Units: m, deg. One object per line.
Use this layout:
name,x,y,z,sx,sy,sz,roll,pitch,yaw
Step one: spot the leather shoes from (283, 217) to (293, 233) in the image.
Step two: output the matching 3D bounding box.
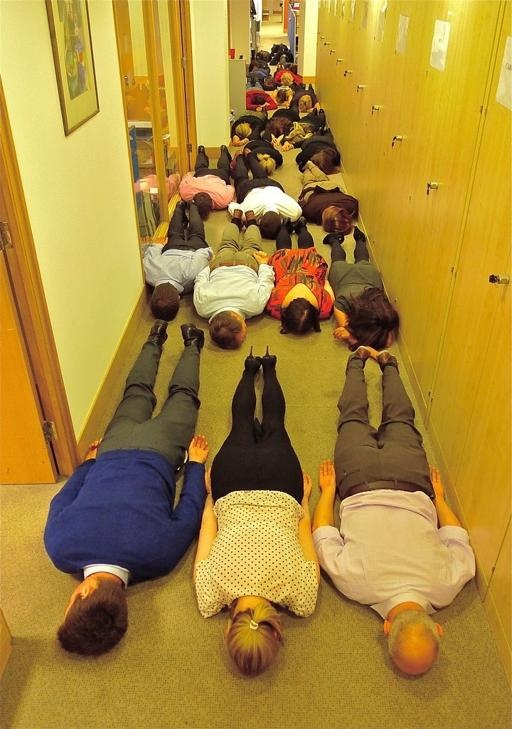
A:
leather shoes,0.273,-1.174,4.242,0.050,0.071,0.183,-9,62,21

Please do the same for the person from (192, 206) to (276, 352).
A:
person,-0.140,-0.610,3.314,0.377,0.243,1.139,1,38,2

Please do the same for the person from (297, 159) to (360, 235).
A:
person,0.661,-1.502,4.787,0.464,0.379,1.026,10,38,-14

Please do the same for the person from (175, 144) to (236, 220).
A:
person,-0.471,-1.763,5.073,0.497,0.292,1.067,2,49,0

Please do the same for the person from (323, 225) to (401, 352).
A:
person,0.689,-0.519,3.272,0.302,0.294,0.899,-7,40,8

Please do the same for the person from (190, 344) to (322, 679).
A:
person,0.031,0.422,1.783,0.304,0.228,1.182,1,56,3

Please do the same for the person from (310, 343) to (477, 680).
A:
person,0.509,0.502,2.003,0.535,0.311,1.720,-6,31,13

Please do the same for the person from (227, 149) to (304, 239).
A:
person,0.056,-1.537,4.744,0.503,0.361,1.295,0,42,-3

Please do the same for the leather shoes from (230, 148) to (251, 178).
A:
leather shoes,-0.168,-2.173,5.455,0.163,0.208,0.534,2,55,2

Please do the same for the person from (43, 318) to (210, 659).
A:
person,-0.421,0.369,1.921,0.398,0.247,1.345,7,39,1

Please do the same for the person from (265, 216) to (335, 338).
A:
person,0.309,-0.604,3.444,0.307,0.298,1.024,1,56,2

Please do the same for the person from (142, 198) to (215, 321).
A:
person,-0.574,-0.774,3.612,0.371,0.278,1.104,1,41,1
